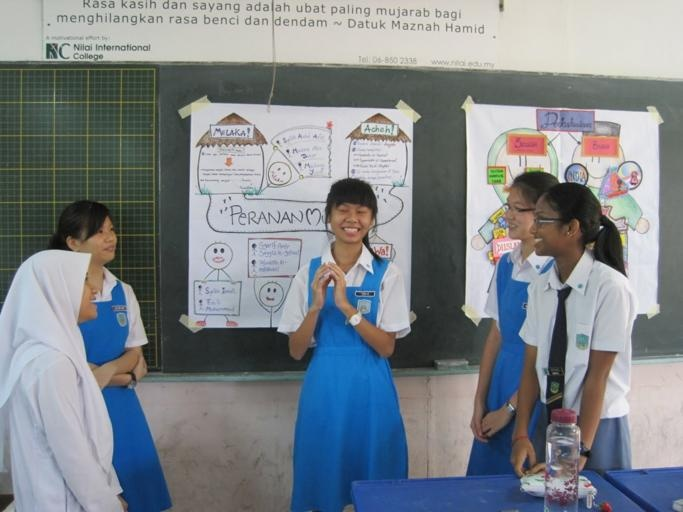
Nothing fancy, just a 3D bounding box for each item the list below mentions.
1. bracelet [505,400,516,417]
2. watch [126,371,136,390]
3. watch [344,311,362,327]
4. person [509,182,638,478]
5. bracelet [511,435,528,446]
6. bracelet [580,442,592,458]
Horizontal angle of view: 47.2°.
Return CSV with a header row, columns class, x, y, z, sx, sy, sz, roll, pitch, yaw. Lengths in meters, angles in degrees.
class,x,y,z,sx,sy,sz,roll,pitch,yaw
bracelet,0.791,0.712,3.662,0.054,0.037,0.057,-44,-10,21
watch,-1.046,0.617,3.873,0.034,0.073,0.053,-1,5,-32
watch,0.064,0.296,3.723,0.055,0.041,0.071,-4,-38,-6
person,1.002,0.317,3.358,0.492,1.260,0.401,2,6,19
bracelet,0.769,0.793,3.376,0.065,0.043,0.045,2,6,21
bracelet,1.008,0.803,3.243,0.038,0.044,0.054,2,6,15
